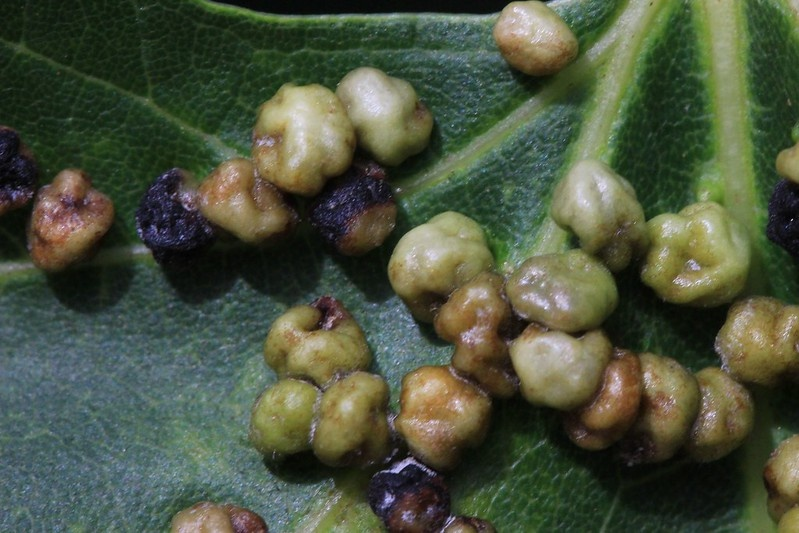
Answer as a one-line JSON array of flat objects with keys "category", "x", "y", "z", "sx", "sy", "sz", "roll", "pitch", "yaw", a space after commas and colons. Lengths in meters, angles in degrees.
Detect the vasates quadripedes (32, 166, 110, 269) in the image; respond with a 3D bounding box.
[{"category": "vasates quadripedes", "x": -1.031, "y": -0.145, "z": 2.991, "sx": 0.276, "sy": 0.146, "sz": 0.239, "roll": -32, "pitch": 70, "yaw": -22}]
